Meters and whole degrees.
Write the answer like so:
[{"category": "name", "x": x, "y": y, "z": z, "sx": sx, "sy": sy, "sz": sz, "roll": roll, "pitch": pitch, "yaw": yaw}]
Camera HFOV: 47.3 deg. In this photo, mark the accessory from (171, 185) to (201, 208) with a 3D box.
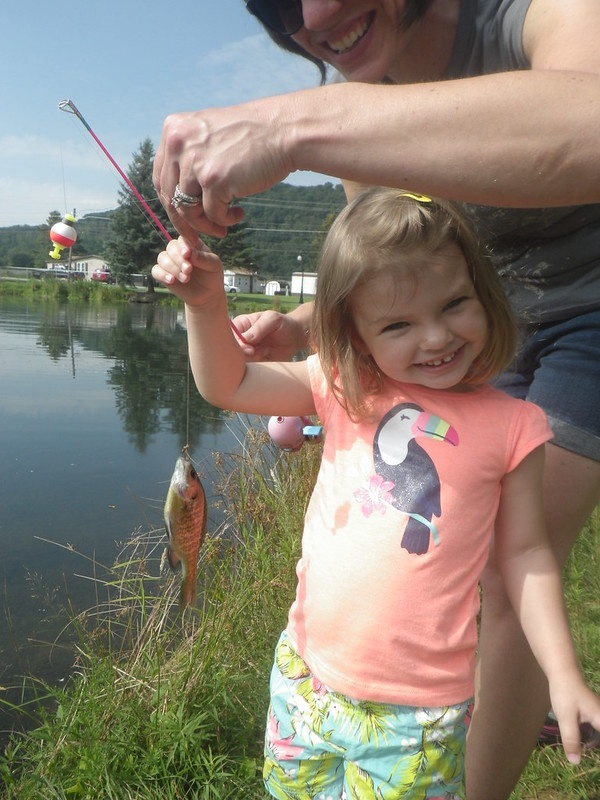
[{"category": "accessory", "x": -0.229, "y": -0.393, "z": 1.314, "sx": 0.069, "sy": 0.041, "sz": 0.035, "roll": 9, "pitch": 17, "yaw": 37}]
